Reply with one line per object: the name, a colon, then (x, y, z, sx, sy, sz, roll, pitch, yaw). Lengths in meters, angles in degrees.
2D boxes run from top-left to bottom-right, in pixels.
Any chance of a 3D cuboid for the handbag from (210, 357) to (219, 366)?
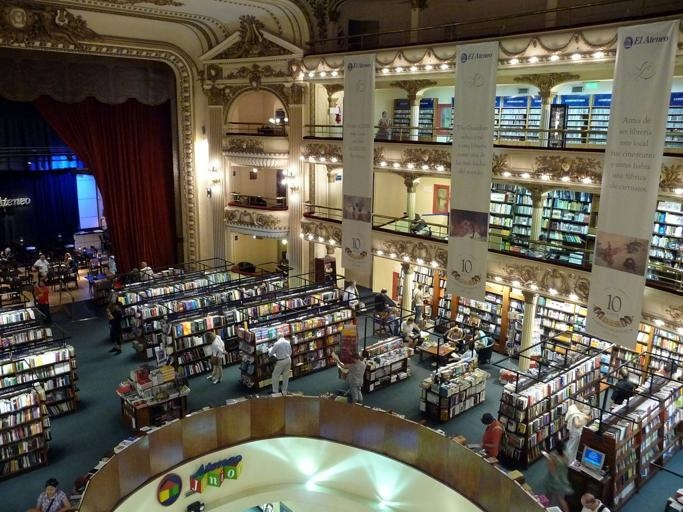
handbag: (-3.257, 2.721, 11.840, 0.210, 0.230, 0.215, -9, 21, -27)
